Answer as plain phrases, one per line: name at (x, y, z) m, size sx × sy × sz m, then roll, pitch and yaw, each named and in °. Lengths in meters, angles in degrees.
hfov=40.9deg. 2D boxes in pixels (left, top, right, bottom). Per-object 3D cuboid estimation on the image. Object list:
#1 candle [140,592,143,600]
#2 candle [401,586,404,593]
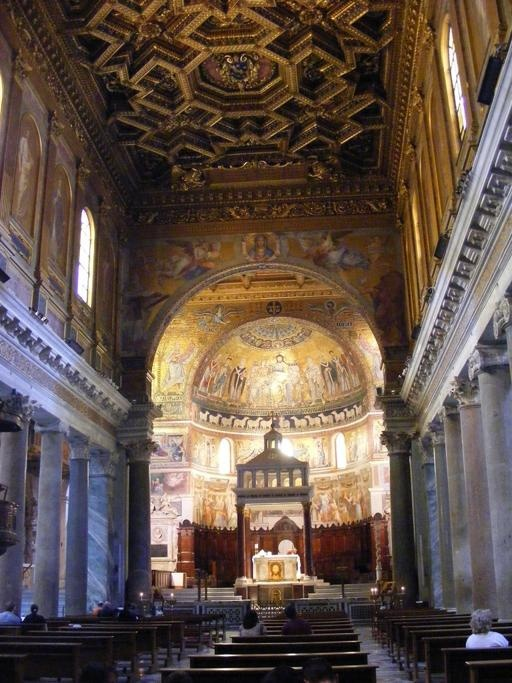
candle at (-3.713, 8.214, 22.231) m, size 0.129 × 0.228 × 0.204 m, roll 2°, pitch -21°, yaw -11°
candle at (4.744, 8.009, 22.200) m, size 0.106 × 0.226 × 0.111 m, roll -9°, pitch -22°, yaw 18°
